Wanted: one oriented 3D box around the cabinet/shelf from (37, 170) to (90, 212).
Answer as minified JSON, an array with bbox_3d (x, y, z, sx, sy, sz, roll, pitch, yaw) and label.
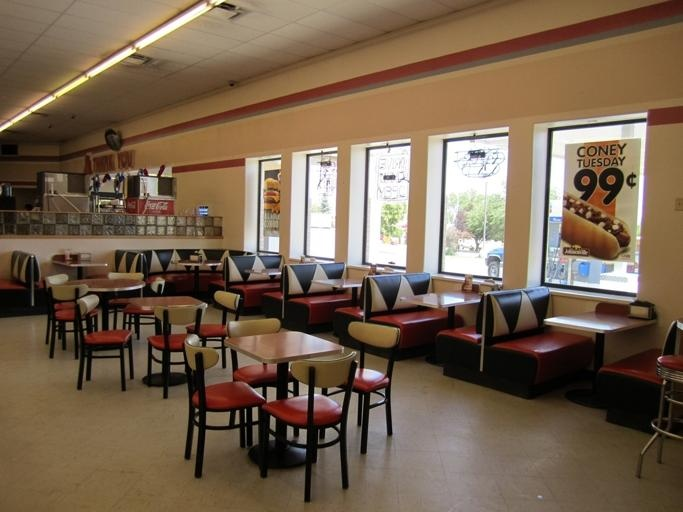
[{"bbox_3d":[-6.132,-1.379,11.814,1.215,1.091,0.558,-3,9,-45],"label":"cabinet/shelf"}]
